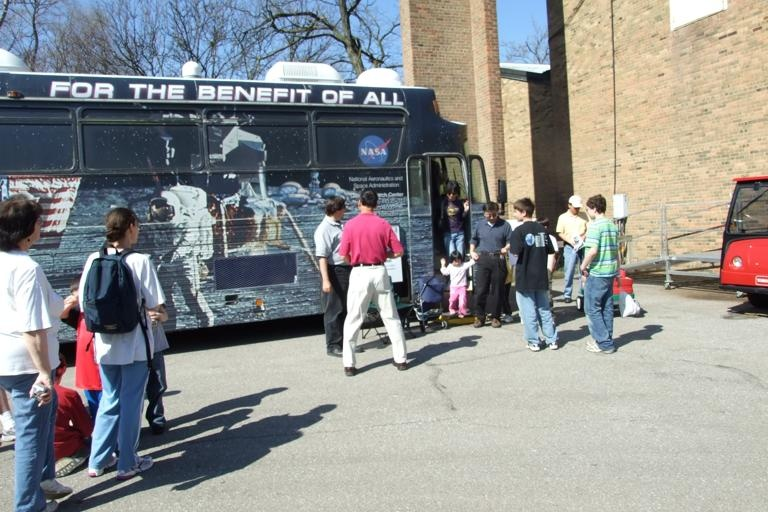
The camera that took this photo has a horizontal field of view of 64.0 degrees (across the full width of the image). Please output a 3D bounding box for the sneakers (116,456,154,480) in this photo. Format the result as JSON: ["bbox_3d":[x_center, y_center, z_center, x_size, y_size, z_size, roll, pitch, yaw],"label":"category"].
[{"bbox_3d":[-2.683,2.313,6.691,0.149,0.184,0.413,7,13,17],"label":"sneakers"}]

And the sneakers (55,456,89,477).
[{"bbox_3d":[-3.470,2.310,6.777,0.138,0.120,0.361,-32,-4,39],"label":"sneakers"}]

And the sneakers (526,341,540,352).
[{"bbox_3d":[2.373,1.440,9.704,0.096,0.101,0.241,0,2,2],"label":"sneakers"}]

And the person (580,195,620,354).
[{"bbox_3d":[3.321,0.296,9.465,0.567,2.339,0.691,2,15,18],"label":"person"}]

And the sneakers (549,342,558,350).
[{"bbox_3d":[2.691,1.422,9.717,0.076,0.073,0.187,-2,3,6],"label":"sneakers"}]

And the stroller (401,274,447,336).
[{"bbox_3d":[0.742,0.814,11.271,0.594,0.889,0.776,-4,3,-32],"label":"stroller"}]

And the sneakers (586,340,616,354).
[{"bbox_3d":[3.352,1.389,9.522,0.179,0.184,0.407,-11,19,-38],"label":"sneakers"}]

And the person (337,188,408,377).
[{"bbox_3d":[-0.174,0.390,9.046,0.912,2.587,0.825,-3,14,1],"label":"person"}]

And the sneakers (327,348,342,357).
[{"bbox_3d":[-0.787,1.538,9.820,0.226,0.095,0.112,-4,4,22],"label":"sneakers"}]

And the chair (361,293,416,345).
[{"bbox_3d":[-0.157,1.235,11.482,0.569,0.600,0.519,-19,-7,-31],"label":"chair"}]

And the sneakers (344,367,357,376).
[{"bbox_3d":[-0.489,1.688,8.981,0.103,0.104,0.253,1,-9,-1],"label":"sneakers"}]

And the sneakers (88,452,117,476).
[{"bbox_3d":[-3.072,2.289,6.800,0.153,0.176,0.419,8,12,2],"label":"sneakers"}]

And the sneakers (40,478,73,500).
[{"bbox_3d":[-3.391,2.406,6.330,0.130,0.159,0.392,23,0,30],"label":"sneakers"}]
